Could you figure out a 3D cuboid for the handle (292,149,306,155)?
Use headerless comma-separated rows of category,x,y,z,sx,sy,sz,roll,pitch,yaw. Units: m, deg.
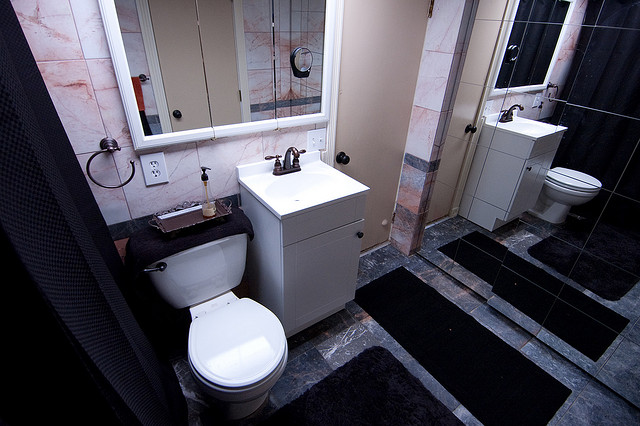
handle,-0.143,-0.404,2.640,0.041,0.010,0.040,-1,67,-16

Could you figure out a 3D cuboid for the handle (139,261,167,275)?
handle,-0.898,0.297,2.142,0.108,0.056,0.064,-12,5,13

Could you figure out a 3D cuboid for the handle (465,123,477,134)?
handle,1.186,-0.668,3.120,0.073,0.074,0.022,-2,7,27

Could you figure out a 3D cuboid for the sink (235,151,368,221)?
sink,-0.121,-0.181,2.499,0.669,0.200,0.537,-17,34,-26

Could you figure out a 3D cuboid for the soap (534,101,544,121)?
soap,1.380,-0.645,2.505,0.026,0.147,0.026,16,57,25

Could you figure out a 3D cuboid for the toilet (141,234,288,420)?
toilet,-0.593,0.634,2.223,0.579,0.699,0.714,-27,46,-27

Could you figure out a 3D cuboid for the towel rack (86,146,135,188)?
towel rack,-1.112,-0.260,2.128,0.222,0.218,0.164,1,24,-20

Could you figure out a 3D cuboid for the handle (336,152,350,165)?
handle,0.156,-0.380,2.763,0.086,0.089,0.076,-15,31,-37

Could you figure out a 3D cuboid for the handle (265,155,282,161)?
handle,-0.311,-0.359,2.573,0.086,0.012,0.035,-6,73,-7

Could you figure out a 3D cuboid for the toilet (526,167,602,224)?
toilet,1.532,-0.107,2.505,0.353,0.303,0.276,26,43,23
